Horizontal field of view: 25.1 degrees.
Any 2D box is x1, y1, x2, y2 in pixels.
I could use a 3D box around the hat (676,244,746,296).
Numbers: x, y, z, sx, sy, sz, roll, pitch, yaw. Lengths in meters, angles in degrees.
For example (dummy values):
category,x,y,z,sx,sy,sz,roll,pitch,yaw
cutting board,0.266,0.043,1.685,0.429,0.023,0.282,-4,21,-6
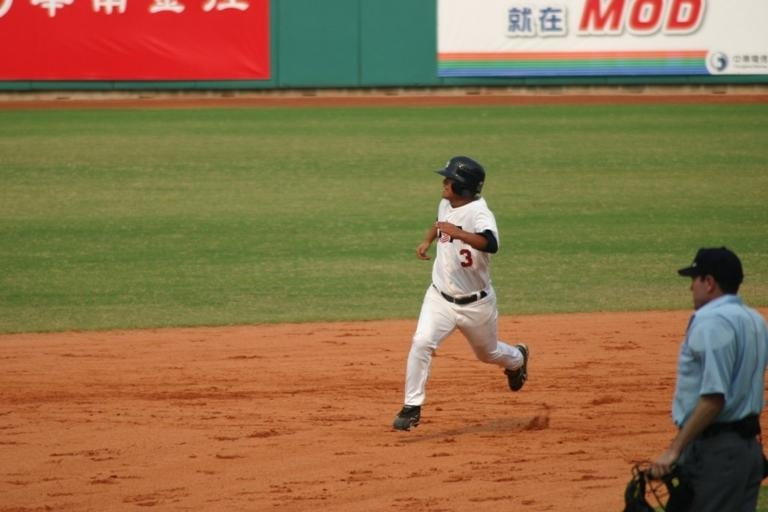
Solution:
category,x,y,z,sx,sy,sz,roll,pitch,yaw
hat,6.325,0.148,33.388,1.332,0.687,0.920,10,3,35
